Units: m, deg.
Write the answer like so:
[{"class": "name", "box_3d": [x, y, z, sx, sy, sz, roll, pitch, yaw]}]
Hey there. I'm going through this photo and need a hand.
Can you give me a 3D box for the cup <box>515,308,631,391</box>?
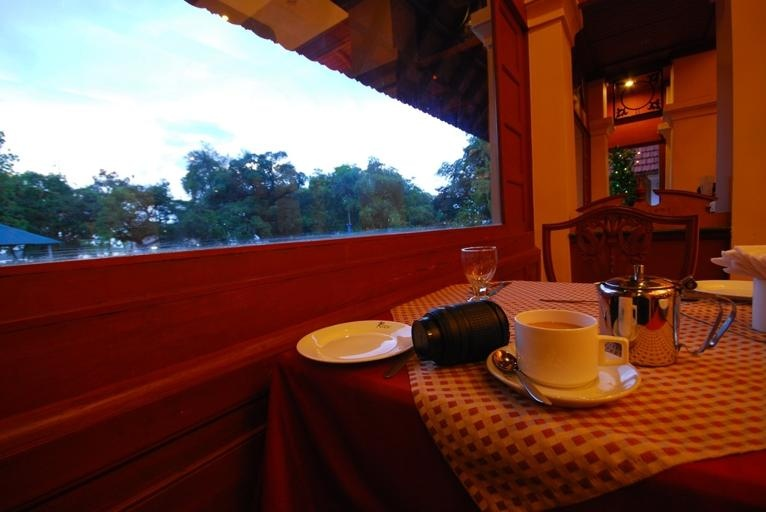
[{"class": "cup", "box_3d": [0.362, 0.154, 0.918, 0.187, 0.122, 0.142, 3, 7, 38]}]
